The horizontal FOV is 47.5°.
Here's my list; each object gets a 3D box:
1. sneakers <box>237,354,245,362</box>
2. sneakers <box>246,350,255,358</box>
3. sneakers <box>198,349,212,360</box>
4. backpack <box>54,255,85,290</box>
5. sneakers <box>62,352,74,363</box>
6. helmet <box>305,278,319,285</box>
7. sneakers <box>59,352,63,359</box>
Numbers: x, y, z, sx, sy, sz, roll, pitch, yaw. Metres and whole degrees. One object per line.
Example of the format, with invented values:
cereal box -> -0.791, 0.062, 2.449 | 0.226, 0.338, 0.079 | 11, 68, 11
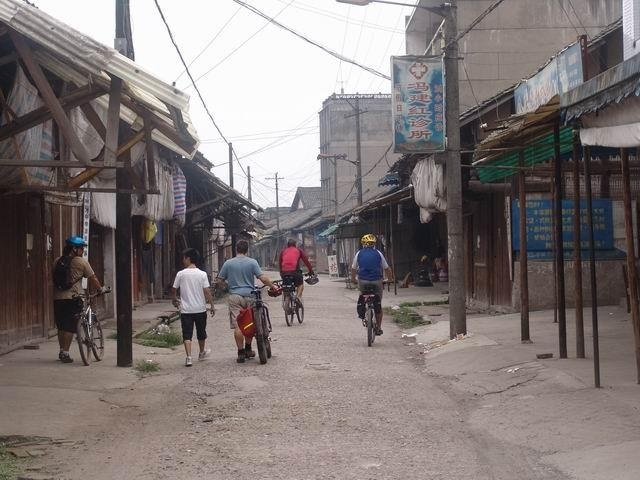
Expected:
sneakers -> -1.329, 1.986, 12.218 | 0.159, 0.129, 0.261 | -2, 1, -6
sneakers -> -1.179, 1.946, 12.424 | 0.063, 0.087, 0.195 | 3, 9, 11
sneakers -> -1.999, 1.995, 12.666 | 0.090, 0.126, 0.259 | 3, 21, 21
backpack -> -4.297, 0.517, 12.452 | 0.395, 0.580, 0.375 | 2, -1, 43
sneakers -> -4.220, 1.968, 12.208 | 0.136, 0.185, 0.252 | -2, 1, -1
helmet -> -0.214, 1.088, 18.404 | 0.251, 0.186, 0.266 | 2, 1, 12
sneakers -> -4.339, 1.929, 12.166 | 0.046, 0.143, 0.181 | -3, 2, -31
